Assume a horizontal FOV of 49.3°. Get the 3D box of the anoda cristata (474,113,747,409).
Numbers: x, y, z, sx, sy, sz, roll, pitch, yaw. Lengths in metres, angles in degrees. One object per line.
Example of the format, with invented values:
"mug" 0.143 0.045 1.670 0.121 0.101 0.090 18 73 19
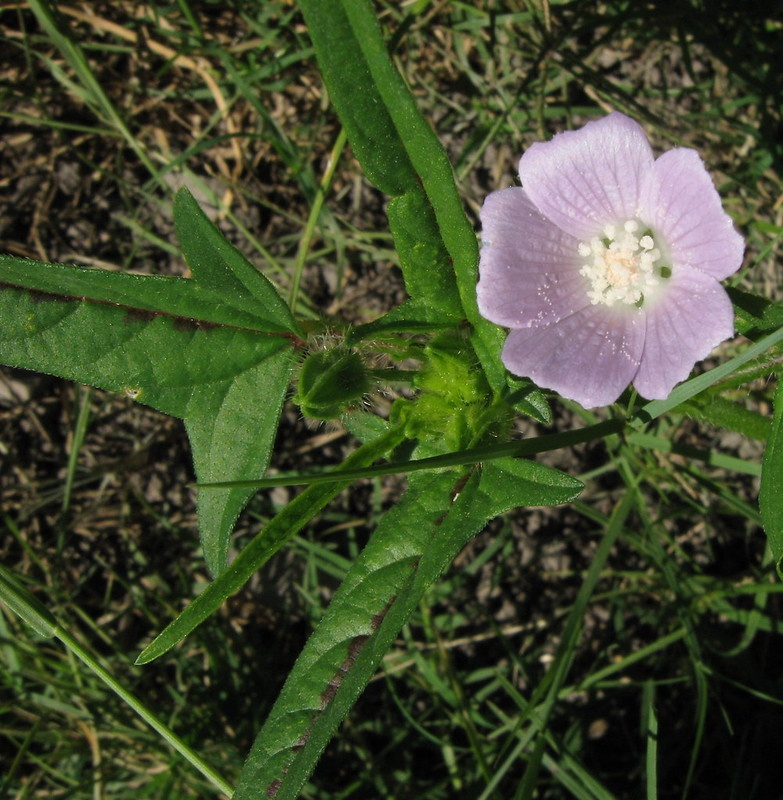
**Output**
"anoda cristata" 0.803 -0.437 2.801 0.976 0.813 0.377 -17 -1 24
